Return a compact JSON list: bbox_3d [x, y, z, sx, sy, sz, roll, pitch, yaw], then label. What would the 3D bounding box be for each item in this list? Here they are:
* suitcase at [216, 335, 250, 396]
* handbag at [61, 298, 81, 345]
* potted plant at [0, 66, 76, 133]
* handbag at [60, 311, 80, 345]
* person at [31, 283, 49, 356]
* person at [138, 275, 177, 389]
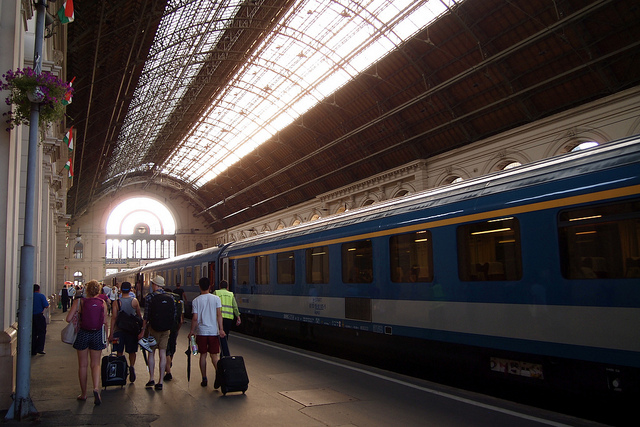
[{"bbox_3d":[-1.887,3.524,8.946,0.633,0.764,0.339,1,-6,-14],"label":"suitcase"},{"bbox_3d":[-5.076,2.219,8.417,0.372,0.938,0.352,1,-6,-18],"label":"handbag"},{"bbox_3d":[-5.776,-2.281,8.247,1.274,1.259,0.681,-1,-6,9],"label":"potted plant"},{"bbox_3d":[-5.097,2.370,8.446,0.300,0.645,0.301,3,-6,-33],"label":"handbag"},{"bbox_3d":[-9.001,3.468,13.276,0.421,2.261,1.493,3,-7,-33],"label":"person"},{"bbox_3d":[-3.930,2.871,10.134,0.829,2.665,1.542,1,-6,-17],"label":"person"}]
